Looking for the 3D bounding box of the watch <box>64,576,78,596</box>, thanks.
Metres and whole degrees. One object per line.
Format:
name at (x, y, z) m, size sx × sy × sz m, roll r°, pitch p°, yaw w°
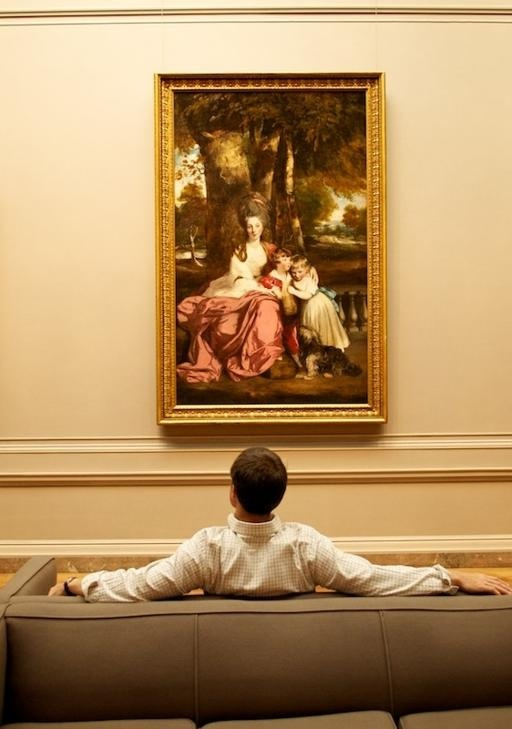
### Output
watch at (-0.643, 0.756, 2.379) m, size 0.058 × 0.061 × 0.054 m, roll -12°, pitch -14°, yaw 14°
